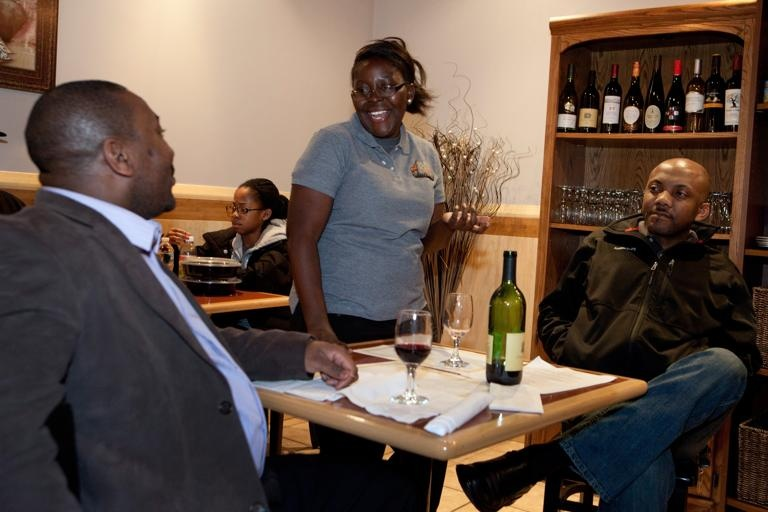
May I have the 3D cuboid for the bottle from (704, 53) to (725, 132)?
[{"bbox_3d":[1.837,-0.901,3.128,0.107,0.418,0.239,7,11,21],"label":"bottle"}]

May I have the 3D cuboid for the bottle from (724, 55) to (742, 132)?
[{"bbox_3d":[1.850,-0.865,2.982,0.082,0.403,0.194,8,12,28],"label":"bottle"}]

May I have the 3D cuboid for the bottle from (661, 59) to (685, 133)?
[{"bbox_3d":[1.711,-0.928,3.292,0.124,0.428,0.445,8,12,26],"label":"bottle"}]

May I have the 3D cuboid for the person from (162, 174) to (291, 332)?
[{"bbox_3d":[-1.028,0.019,3.956,0.759,1.037,0.807,4,8,14],"label":"person"}]

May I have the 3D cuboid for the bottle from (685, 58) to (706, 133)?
[{"bbox_3d":[1.762,-0.907,3.194,0.101,0.397,0.213,6,11,19],"label":"bottle"}]

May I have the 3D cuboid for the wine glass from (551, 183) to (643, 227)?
[{"bbox_3d":[1.266,-0.301,3.384,0.369,0.150,0.277,0,4,-19],"label":"wine glass"}]
